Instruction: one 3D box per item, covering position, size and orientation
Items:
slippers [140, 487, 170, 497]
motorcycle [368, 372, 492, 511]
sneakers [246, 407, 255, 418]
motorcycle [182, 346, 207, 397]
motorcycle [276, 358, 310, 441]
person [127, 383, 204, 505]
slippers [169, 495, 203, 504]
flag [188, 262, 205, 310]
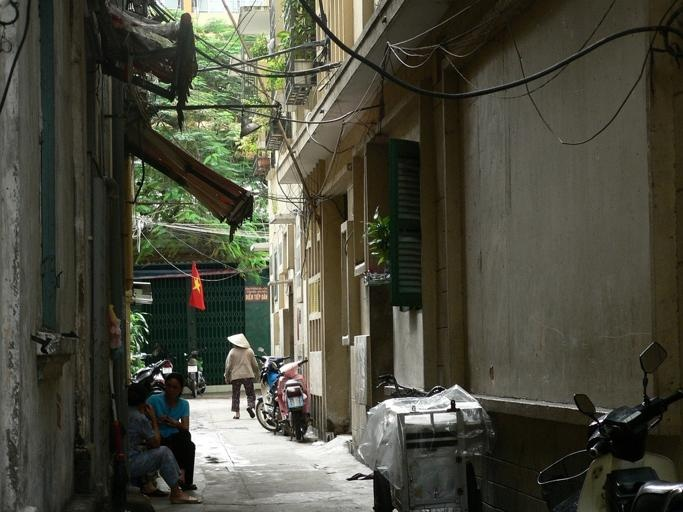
[{"bbox_3d":[-1.983,2.545,10.266,0.336,0.122,0.132,-2,-6,0],"label":"slippers"},{"bbox_3d":[0.660,1.666,8.579,1.040,1.528,1.073,0,-10,-5],"label":"motorcycle"},{"bbox_3d":[-1.699,2.893,17.962,0.094,0.324,0.110,-19,18,-31],"label":"sneakers"},{"bbox_3d":[-3.653,3.025,24.090,0.517,0.811,1.191,-8,-7,0],"label":"motorcycle"},{"bbox_3d":[-0.743,2.224,14.732,0.482,1.247,1.022,0,-7,-5],"label":"motorcycle"},{"bbox_3d":[-1.967,1.954,10.010,0.721,1.222,0.825,3,-8,-27],"label":"person"},{"bbox_3d":[-1.602,2.491,9.764,0.276,0.099,0.123,0,0,-5],"label":"slippers"},{"bbox_3d":[-3.778,0.766,24.995,0.392,1.309,1.639,0,-8,-8],"label":"flag"}]
